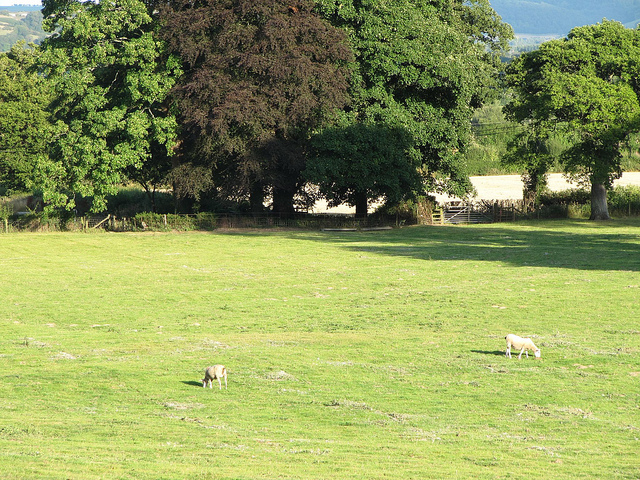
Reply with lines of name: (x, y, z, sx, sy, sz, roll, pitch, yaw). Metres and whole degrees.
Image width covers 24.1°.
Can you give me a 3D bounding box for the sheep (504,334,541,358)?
sheep: (10.404, 5.412, 77.733, 1.705, 1.153, 0.661, 0, 0, 5)
